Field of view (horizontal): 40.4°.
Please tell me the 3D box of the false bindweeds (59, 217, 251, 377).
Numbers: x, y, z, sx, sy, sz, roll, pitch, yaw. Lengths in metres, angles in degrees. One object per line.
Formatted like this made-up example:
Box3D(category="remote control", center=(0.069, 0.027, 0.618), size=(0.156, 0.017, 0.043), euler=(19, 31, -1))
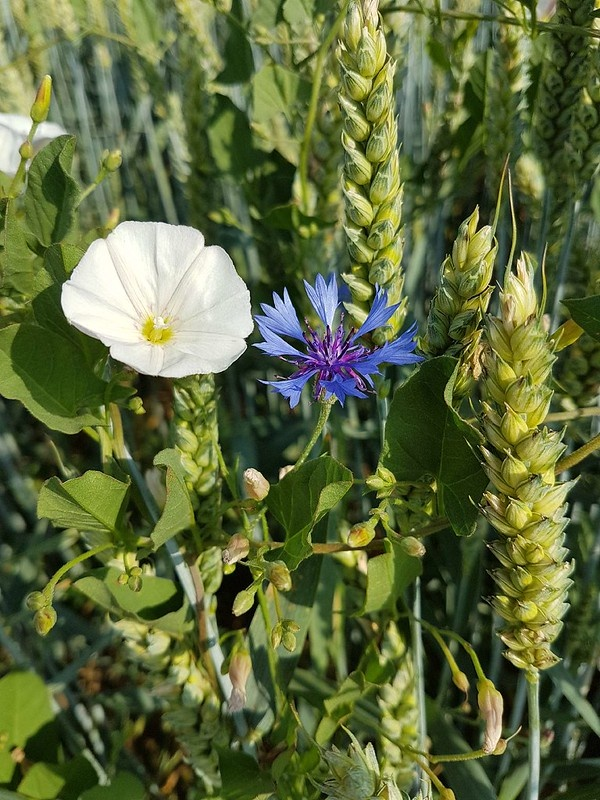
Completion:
Box3D(category="false bindweeds", center=(-0.130, -0.089, 0.781), size=(0.169, 0.087, 0.183), euler=(8, 46, -1))
